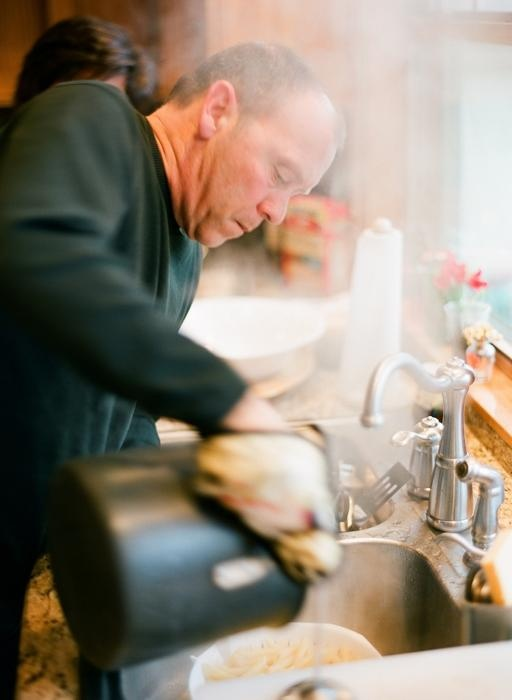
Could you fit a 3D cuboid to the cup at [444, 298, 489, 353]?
[{"bbox_3d":[0.359,-0.046,1.212,0.083,0.086,0.086,-2,19,1],"label":"cup"}]
